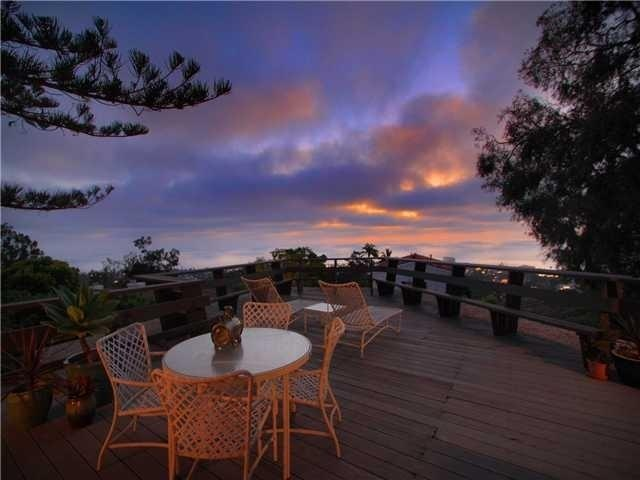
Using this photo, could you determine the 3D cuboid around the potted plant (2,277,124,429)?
[{"bbox_3d":[-3.147,1.330,4.884,1.357,1.423,1.451,-3,-3,23],"label":"potted plant"}]
